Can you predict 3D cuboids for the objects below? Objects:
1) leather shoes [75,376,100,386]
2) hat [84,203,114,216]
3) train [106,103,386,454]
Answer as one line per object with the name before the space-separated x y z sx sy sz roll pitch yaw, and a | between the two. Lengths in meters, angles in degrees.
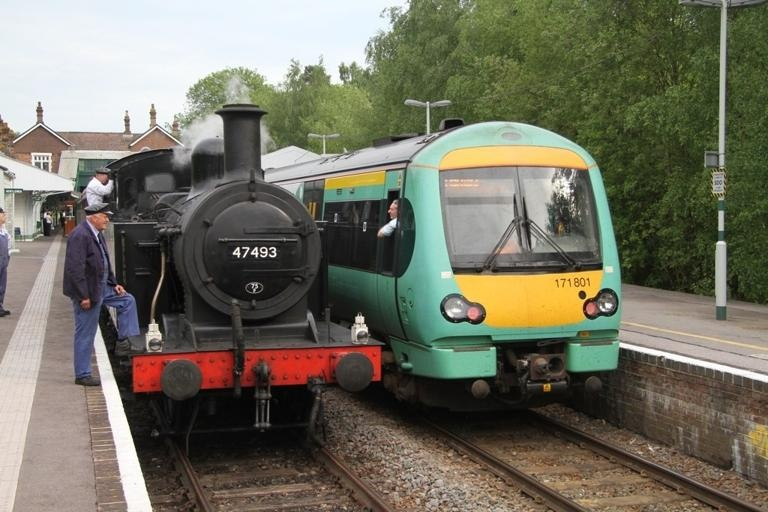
leather shoes | -4.171 1.771 9.075 0.407 0.168 0.140 -1 5 1
hat | -4.232 -0.694 9.372 0.443 0.174 0.368 2 6 8
train | -3.661 0.182 12.367 3.573 4.811 9.798 -1 4 -29
